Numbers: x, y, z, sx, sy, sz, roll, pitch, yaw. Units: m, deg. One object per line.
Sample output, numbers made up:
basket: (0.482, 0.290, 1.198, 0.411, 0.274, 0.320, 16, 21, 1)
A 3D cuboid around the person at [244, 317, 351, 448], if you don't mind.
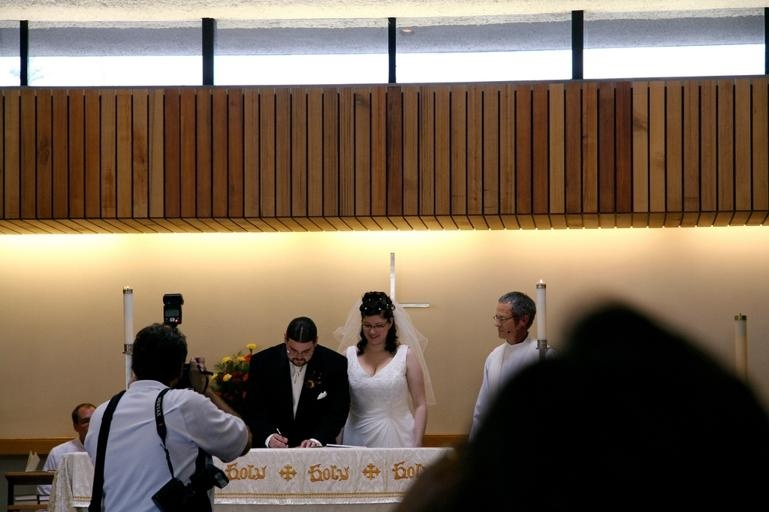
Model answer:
person: (-0.795, 1.138, 13.220, 0.881, 1.768, 1.095, 0, -1, -5)
